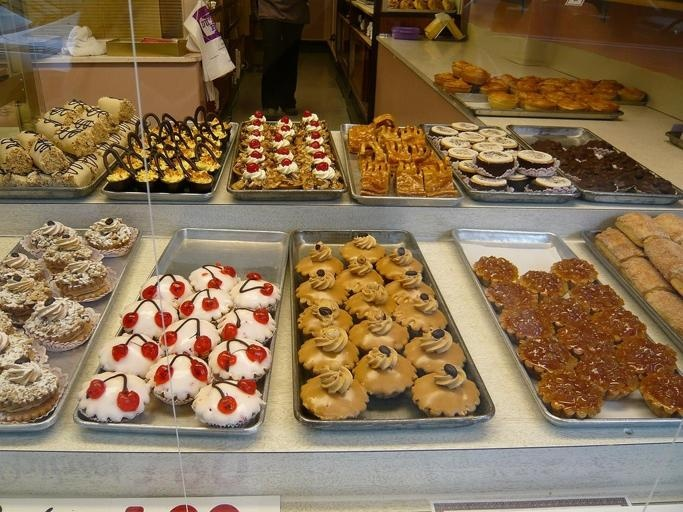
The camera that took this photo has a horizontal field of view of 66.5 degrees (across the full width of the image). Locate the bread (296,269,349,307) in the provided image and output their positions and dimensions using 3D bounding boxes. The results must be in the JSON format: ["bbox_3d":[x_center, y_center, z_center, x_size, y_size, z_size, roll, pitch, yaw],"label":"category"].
[{"bbox_3d":[-0.066,0.117,1.753,0.147,0.063,0.139,19,34,26],"label":"bread"}]

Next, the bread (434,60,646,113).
[{"bbox_3d":[1.222,-0.995,3.240,1.016,0.109,0.495,2,31,2],"label":"bread"}]

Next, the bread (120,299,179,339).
[{"bbox_3d":[-0.601,0.195,1.618,0.179,0.064,0.161,8,32,-12],"label":"bread"}]

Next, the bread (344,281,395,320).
[{"bbox_3d":[0.088,0.153,1.731,0.145,0.060,0.142,26,45,30],"label":"bread"}]

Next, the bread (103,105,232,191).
[{"bbox_3d":[-0.708,-0.545,2.203,0.489,0.167,0.624,1,26,-3],"label":"bread"}]

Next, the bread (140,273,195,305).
[{"bbox_3d":[-0.577,0.109,1.712,0.137,0.040,0.122,-1,26,-12],"label":"bread"}]

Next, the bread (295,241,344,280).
[{"bbox_3d":[-0.075,0.025,1.881,0.152,0.070,0.154,25,35,36],"label":"bread"}]

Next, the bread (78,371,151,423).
[{"bbox_3d":[-0.614,0.384,1.410,0.150,0.069,0.133,-7,39,-31],"label":"bread"}]

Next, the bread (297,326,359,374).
[{"bbox_3d":[-0.043,0.288,1.552,0.165,0.092,0.142,-12,34,-18],"label":"bread"}]

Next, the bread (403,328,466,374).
[{"bbox_3d":[0.279,0.293,1.586,0.159,0.059,0.144,14,40,19],"label":"bread"}]

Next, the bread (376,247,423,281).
[{"bbox_3d":[0.206,0.035,1.888,0.154,0.070,0.130,-11,34,-17],"label":"bread"}]

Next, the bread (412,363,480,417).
[{"bbox_3d":[0.290,0.385,1.500,0.179,0.094,0.156,-12,30,-17],"label":"bread"}]

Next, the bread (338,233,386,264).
[{"bbox_3d":[0.076,-0.022,1.953,0.141,0.068,0.123,-16,37,-22],"label":"bread"}]

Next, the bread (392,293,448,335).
[{"bbox_3d":[0.249,0.194,1.696,0.164,0.058,0.139,8,40,8],"label":"bread"}]

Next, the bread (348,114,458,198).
[{"bbox_3d":[0.237,-0.392,2.238,0.413,0.119,0.627,-1,35,-3],"label":"bread"}]

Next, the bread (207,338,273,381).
[{"bbox_3d":[-0.297,0.304,1.522,0.180,0.081,0.132,-4,37,-10],"label":"bread"}]

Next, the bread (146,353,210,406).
[{"bbox_3d":[-0.458,0.344,1.451,0.163,0.074,0.144,11,28,-3],"label":"bread"}]
